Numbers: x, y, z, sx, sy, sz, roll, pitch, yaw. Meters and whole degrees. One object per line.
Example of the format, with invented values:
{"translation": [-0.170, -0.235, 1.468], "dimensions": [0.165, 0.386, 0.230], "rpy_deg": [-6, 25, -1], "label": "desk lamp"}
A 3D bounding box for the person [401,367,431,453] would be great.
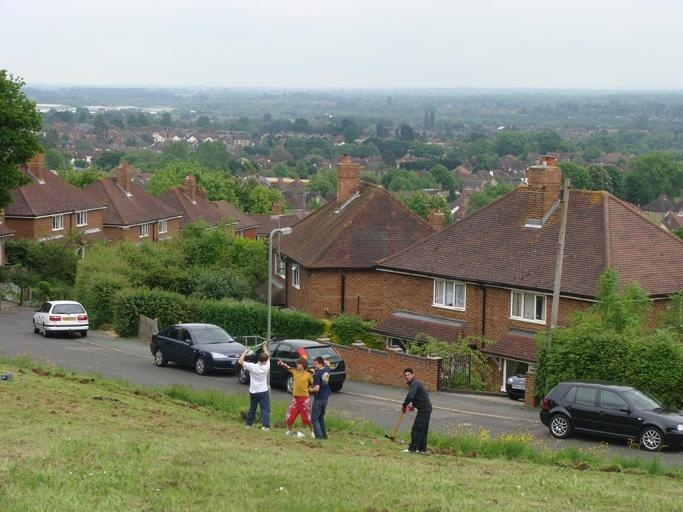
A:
{"translation": [2.229, 4.664, 36.998], "dimensions": [0.848, 2.527, 0.805], "rpy_deg": [3, -4, -19], "label": "person"}

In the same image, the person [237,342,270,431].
{"translation": [-2.723, 3.993, 38.176], "dimensions": [0.966, 2.572, 0.687], "rpy_deg": [2, 8, -2], "label": "person"}

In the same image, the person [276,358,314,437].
{"translation": [-1.445, 4.319, 38.116], "dimensions": [0.777, 2.500, 1.020], "rpy_deg": [1, -1, -12], "label": "person"}

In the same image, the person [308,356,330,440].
{"translation": [-0.723, 4.441, 37.995], "dimensions": [0.672, 2.584, 1.033], "rpy_deg": [4, 4, 17], "label": "person"}
